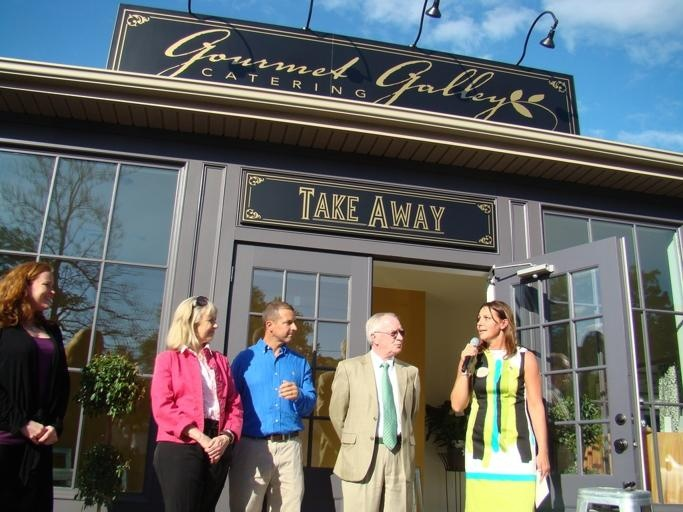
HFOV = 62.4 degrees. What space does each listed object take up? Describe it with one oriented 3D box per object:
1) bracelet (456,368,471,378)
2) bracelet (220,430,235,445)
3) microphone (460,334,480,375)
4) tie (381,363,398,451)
[{"bbox_3d":[0.858,0.812,3.934,0.062,0.041,0.167,-21,-5,18],"label":"bracelet"},{"bbox_3d":[-0.705,1.128,3.492,0.075,0.059,0.076,-3,-6,41],"label":"bracelet"},{"bbox_3d":[0.924,0.663,3.939,0.094,0.332,0.099,24,-34,6],"label":"microphone"},{"bbox_3d":[0.321,1.005,3.775,0.106,0.560,0.150,1,-12,3],"label":"tie"}]
